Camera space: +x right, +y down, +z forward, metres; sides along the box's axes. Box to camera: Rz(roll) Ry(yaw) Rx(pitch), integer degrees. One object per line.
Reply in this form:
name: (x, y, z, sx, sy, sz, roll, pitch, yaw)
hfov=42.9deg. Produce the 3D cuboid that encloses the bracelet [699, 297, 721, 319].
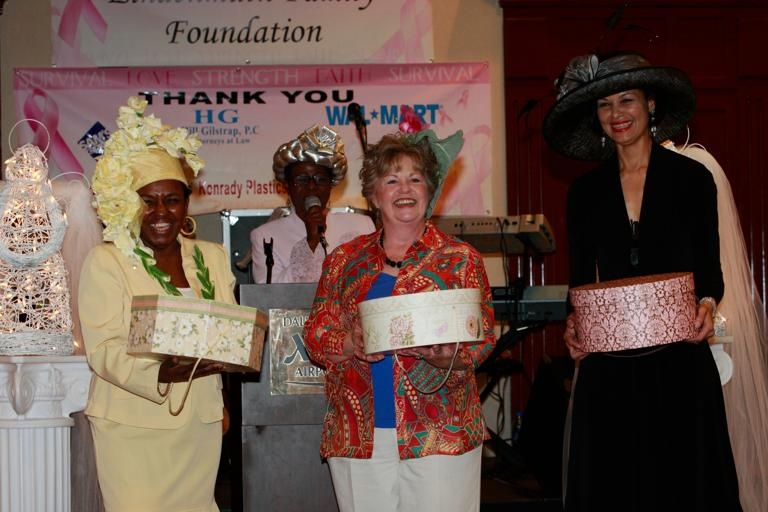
bracelet: (1.617, 0.252, 4.909, 0.076, 0.107, 0.115, -4, -4, 27)

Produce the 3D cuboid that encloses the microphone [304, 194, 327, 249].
microphone: (-0.422, -0.208, 6.316, 0.120, 0.432, 0.128, -10, -15, -1)

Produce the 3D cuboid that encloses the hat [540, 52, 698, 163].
hat: (1.267, -0.863, 5.303, 0.901, 0.299, 0.826, 2, -20, -21)
